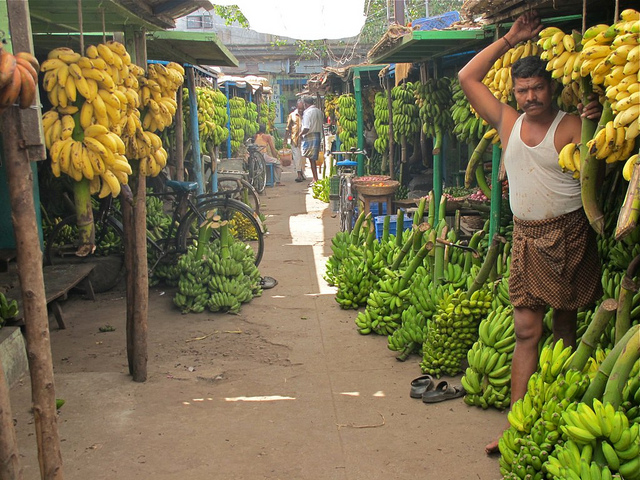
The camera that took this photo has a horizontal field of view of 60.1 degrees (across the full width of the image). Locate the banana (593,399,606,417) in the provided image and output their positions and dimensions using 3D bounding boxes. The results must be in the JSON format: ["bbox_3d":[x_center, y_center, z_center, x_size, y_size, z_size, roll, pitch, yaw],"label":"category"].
[{"bbox_3d":[1.426,0.853,2.825,0.026,0.101,0.035,-12,21,40],"label":"banana"}]

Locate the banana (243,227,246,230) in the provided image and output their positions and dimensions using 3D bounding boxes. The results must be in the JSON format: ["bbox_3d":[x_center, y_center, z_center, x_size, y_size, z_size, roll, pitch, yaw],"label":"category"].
[{"bbox_3d":[-1.340,-0.222,9.960,0.044,0.047,0.011,-2,-2,-26],"label":"banana"}]

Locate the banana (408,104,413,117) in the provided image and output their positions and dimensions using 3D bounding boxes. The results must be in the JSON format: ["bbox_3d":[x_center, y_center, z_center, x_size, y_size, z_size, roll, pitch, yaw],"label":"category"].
[{"bbox_3d":[1.567,-2.233,9.452,0.044,0.151,0.086,-12,7,-12],"label":"banana"}]

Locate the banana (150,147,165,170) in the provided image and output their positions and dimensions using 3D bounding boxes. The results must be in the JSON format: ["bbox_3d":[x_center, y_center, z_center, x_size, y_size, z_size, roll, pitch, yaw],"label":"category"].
[{"bbox_3d":[-1.457,-0.733,4.997,0.051,0.203,0.069,-14,16,40],"label":"banana"}]

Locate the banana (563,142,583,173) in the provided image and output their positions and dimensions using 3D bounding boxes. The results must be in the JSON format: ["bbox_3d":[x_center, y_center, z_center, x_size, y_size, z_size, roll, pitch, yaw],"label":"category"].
[{"bbox_3d":[1.539,-0.504,3.360,0.082,0.164,0.163,11,17,43],"label":"banana"}]

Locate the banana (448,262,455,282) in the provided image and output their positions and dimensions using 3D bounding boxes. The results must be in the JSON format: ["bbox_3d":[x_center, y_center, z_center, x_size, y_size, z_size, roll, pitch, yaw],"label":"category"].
[{"bbox_3d":[1.243,0.294,5.244,0.043,0.176,0.059,-9,-35,19],"label":"banana"}]

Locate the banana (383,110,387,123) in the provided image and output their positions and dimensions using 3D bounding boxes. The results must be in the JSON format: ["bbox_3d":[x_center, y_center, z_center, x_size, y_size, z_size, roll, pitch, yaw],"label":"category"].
[{"bbox_3d":[1.280,-2.422,10.770,0.059,0.188,0.037,2,6,7],"label":"banana"}]

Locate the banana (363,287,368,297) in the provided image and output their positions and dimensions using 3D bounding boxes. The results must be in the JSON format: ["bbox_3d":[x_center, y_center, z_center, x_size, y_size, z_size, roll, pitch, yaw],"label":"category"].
[{"bbox_3d":[0.527,0.576,6.319,0.037,0.079,0.023,6,5,-38],"label":"banana"}]

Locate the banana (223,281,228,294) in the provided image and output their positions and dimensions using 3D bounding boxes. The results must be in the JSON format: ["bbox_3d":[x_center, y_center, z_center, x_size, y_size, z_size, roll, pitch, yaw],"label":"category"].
[{"bbox_3d":[-1.091,0.550,6.480,0.031,0.129,0.036,-2,0,-12],"label":"banana"}]

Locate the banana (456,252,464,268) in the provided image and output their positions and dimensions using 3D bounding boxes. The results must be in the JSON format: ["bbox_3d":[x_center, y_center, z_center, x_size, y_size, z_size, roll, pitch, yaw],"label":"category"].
[{"bbox_3d":[1.413,0.195,5.555,0.025,0.106,0.079,5,-7,-29],"label":"banana"}]

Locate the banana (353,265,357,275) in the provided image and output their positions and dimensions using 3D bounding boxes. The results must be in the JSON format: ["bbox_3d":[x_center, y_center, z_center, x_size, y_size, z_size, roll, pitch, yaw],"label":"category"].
[{"bbox_3d":[0.409,0.346,6.357,0.024,0.091,0.025,8,-8,14],"label":"banana"}]

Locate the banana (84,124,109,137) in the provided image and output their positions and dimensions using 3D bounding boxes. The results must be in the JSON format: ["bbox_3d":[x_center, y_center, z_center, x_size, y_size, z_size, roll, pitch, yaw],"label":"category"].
[{"bbox_3d":[-1.684,-0.828,4.175,0.161,0.087,0.049,-8,2,11],"label":"banana"}]

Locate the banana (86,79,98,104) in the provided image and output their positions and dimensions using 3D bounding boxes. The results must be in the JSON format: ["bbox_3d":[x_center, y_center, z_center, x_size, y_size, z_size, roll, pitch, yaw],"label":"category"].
[{"bbox_3d":[-1.698,-1.132,4.166,0.086,0.163,0.042,-8,15,-26],"label":"banana"}]

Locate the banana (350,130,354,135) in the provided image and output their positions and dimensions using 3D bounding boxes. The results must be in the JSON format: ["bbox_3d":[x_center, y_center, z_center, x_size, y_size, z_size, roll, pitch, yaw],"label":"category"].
[{"bbox_3d":[0.743,-2.464,12.583,0.085,0.099,0.038,0,12,2],"label":"banana"}]

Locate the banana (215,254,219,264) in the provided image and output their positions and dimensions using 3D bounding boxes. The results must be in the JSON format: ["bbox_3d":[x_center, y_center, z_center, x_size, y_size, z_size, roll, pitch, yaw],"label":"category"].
[{"bbox_3d":[-1.235,0.211,6.736,0.058,0.085,0.030,-3,-15,28],"label":"banana"}]

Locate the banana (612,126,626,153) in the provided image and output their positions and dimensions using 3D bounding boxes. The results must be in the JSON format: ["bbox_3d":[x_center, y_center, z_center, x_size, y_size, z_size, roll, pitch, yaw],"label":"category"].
[{"bbox_3d":[1.627,-0.556,3.012,0.036,0.178,0.057,5,12,-17],"label":"banana"}]

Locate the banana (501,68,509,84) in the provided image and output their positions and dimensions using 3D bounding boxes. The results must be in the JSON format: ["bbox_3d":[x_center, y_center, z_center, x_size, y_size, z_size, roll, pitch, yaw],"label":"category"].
[{"bbox_3d":[1.473,-1.312,4.391,0.054,0.111,0.039,-1,12,0],"label":"banana"}]

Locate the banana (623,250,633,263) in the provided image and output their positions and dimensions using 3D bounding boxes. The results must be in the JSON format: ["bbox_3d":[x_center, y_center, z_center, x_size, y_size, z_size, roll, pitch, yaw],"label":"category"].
[{"bbox_3d":[2.231,0.116,4.011,0.025,0.095,0.024,-22,0,-11],"label":"banana"}]

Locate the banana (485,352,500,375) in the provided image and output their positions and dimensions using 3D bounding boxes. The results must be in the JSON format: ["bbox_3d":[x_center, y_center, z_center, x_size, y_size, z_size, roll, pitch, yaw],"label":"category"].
[{"bbox_3d":[1.320,0.932,4.221,0.054,0.223,0.072,23,3,-3],"label":"banana"}]

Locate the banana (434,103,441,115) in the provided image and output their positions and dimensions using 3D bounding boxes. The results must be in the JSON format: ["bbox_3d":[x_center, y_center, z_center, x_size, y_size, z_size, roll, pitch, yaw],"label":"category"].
[{"bbox_3d":[1.662,-1.848,7.790,0.063,0.138,0.044,-19,2,-4],"label":"banana"}]

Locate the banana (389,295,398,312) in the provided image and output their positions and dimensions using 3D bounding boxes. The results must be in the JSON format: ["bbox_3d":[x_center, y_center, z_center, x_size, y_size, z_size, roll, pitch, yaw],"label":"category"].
[{"bbox_3d":[0.740,0.637,5.570,0.054,0.182,0.035,8,16,-3],"label":"banana"}]

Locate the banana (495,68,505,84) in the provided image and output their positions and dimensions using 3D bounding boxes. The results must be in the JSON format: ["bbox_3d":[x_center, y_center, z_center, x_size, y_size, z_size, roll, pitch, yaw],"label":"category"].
[{"bbox_3d":[1.438,-1.326,4.451,0.039,0.122,0.032,6,-24,4],"label":"banana"}]

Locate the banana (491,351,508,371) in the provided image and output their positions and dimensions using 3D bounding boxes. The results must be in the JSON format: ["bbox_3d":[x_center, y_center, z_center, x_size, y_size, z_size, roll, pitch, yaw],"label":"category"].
[{"bbox_3d":[1.387,0.916,4.218,0.051,0.207,0.071,32,-15,-9],"label":"banana"}]

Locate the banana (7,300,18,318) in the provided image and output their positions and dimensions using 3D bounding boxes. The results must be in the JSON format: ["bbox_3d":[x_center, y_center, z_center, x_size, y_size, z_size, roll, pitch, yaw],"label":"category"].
[{"bbox_3d":[-2.820,0.630,5.097,0.071,0.159,0.035,14,-21,-24],"label":"banana"}]

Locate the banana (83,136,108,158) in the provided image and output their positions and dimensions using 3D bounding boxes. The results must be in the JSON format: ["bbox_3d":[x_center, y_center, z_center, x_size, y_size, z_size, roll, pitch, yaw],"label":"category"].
[{"bbox_3d":[-1.713,-0.706,4.180,0.263,0.091,0.081,27,-6,22],"label":"banana"}]

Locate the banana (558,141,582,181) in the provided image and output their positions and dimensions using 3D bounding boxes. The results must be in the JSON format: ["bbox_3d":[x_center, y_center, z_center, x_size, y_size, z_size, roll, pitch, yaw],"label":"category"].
[{"bbox_3d":[1.525,-0.482,3.373,0.141,0.204,0.065,-23,-14,19],"label":"banana"}]

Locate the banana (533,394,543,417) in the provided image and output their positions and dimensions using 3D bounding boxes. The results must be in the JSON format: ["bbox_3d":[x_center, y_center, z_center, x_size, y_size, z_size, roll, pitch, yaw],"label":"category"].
[{"bbox_3d":[1.271,0.956,3.222,0.032,0.135,0.045,-1,-2,7],"label":"banana"}]

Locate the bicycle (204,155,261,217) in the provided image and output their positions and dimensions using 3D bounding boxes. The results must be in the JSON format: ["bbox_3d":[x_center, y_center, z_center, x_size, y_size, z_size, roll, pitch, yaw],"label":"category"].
[{"bbox_3d":[-1.804,-1.006,10.542,1.354,0.894,0.696,-1,26,-3],"label":"bicycle"}]

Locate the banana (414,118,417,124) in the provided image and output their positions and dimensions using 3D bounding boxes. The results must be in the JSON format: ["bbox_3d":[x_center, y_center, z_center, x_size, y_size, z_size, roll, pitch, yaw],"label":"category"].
[{"bbox_3d":[1.673,-2.078,9.613,0.017,0.095,0.075,8,15,35],"label":"banana"}]

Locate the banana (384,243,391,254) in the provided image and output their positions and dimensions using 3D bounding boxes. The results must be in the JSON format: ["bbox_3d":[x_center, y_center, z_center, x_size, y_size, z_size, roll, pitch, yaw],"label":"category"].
[{"bbox_3d":[0.788,0.092,6.368,0.027,0.120,0.031,-20,-5,1],"label":"banana"}]

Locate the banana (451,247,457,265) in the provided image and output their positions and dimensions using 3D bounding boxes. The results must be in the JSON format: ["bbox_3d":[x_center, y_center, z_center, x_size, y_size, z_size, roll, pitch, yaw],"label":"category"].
[{"bbox_3d":[1.360,0.155,5.599,0.038,0.172,0.057,7,-3,26],"label":"banana"}]

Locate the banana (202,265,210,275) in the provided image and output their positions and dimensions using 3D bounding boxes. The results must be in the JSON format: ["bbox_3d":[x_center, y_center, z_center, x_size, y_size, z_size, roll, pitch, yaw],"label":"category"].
[{"bbox_3d":[-1.359,0.351,6.677,0.064,0.091,0.140,-1,13,0],"label":"banana"}]

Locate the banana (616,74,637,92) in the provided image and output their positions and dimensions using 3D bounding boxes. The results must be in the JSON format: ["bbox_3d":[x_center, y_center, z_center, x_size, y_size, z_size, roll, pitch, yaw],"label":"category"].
[{"bbox_3d":[1.599,-0.824,2.886,0.044,0.056,0.170,14,58,48],"label":"banana"}]
